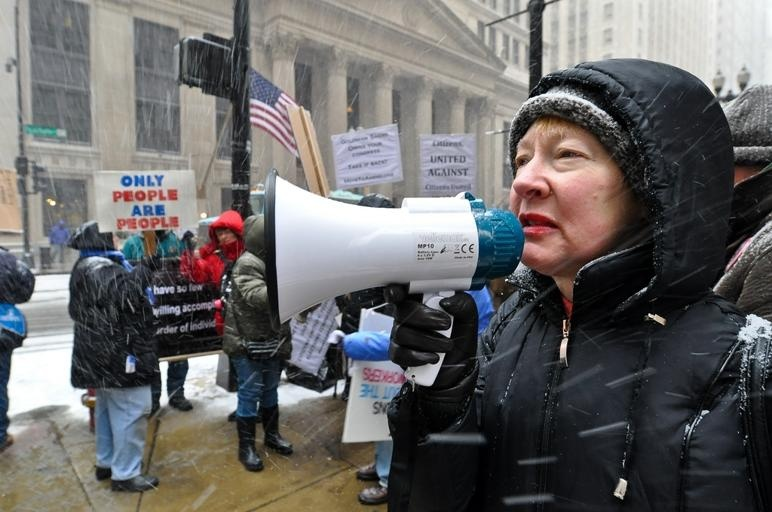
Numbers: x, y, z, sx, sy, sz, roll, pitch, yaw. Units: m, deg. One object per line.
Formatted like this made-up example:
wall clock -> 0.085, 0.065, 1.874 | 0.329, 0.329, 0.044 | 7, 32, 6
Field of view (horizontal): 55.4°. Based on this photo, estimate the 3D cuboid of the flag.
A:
flag -> -1.654, -2.078, 10.713 | 0.609, 1.166, 0.312 | -5, 7, -8

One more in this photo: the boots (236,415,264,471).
boots -> -1.740, 2.357, 9.375 | 0.310, 0.657, 0.420 | -6, 7, -13

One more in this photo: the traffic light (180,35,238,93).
traffic light -> -2.388, -2.586, 9.971 | 0.406, 0.767, 0.782 | 3, 1, 44

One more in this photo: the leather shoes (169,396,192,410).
leather shoes -> -2.883, 2.074, 10.335 | 0.333, 0.143, 0.157 | 7, 17, 2

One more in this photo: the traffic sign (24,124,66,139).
traffic sign -> -9.197, -3.284, 19.506 | 0.662, 0.387, 1.260 | -1, 7, 21

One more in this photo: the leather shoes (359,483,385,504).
leather shoes -> -0.125, 2.858, 8.868 | 0.325, 0.146, 0.177 | 11, 45, -21

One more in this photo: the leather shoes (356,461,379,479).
leather shoes -> -0.265, 2.685, 9.217 | 0.367, 0.155, 0.131 | 13, -6, -6
